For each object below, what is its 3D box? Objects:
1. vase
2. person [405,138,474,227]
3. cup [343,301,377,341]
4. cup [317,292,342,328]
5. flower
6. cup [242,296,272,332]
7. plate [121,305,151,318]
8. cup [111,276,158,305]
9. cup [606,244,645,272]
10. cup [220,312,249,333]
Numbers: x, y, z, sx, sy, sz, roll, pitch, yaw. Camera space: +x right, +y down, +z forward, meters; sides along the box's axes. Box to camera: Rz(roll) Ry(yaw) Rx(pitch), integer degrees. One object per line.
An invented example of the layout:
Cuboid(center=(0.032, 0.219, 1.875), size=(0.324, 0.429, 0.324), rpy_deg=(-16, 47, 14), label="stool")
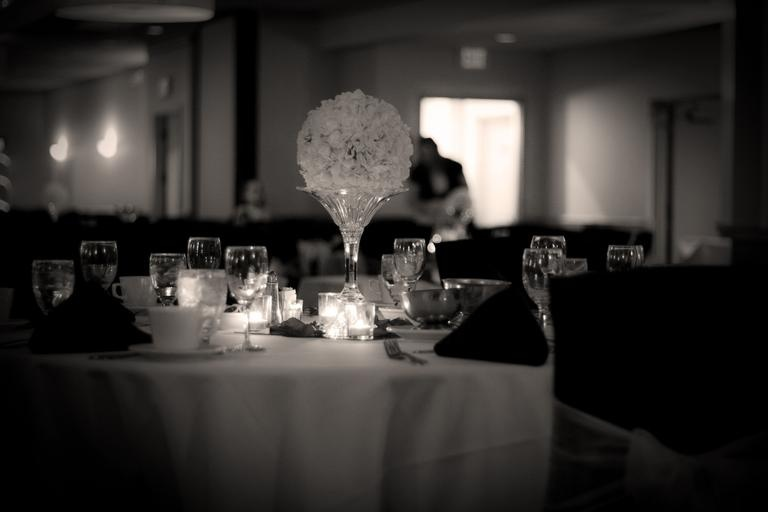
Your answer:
Cuboid(center=(-0.107, -0.047, 2.250), size=(0.380, 0.402, 0.383), rpy_deg=(-4, 9, -40), label="vase")
Cuboid(center=(0.735, -1.007, 8.613), size=(0.647, 1.222, 1.330), rpy_deg=(-2, 3, -19), label="person")
Cuboid(center=(-0.069, 0.190, 1.918), size=(0.093, 0.139, 0.098), rpy_deg=(-1, -2, 0), label="cup")
Cuboid(center=(-0.173, 0.175, 2.076), size=(0.087, 0.105, 0.091), rpy_deg=(2, 0, 0), label="cup")
Cuboid(center=(-0.087, -0.393, 2.237), size=(0.384, 0.219, 0.434), rpy_deg=(1, -30, 0), label="flower")
Cuboid(center=(-0.390, 0.181, 2.061), size=(0.090, 0.147, 0.101), rpy_deg=(1, -1, 1), label="cup")
Cuboid(center=(-0.776, 0.173, 2.038), size=(0.077, 0.033, 0.079), rpy_deg=(3, -2, -11), label="plate")
Cuboid(center=(-0.828, 0.115, 2.157), size=(0.117, 0.093, 0.098), rpy_deg=(-3, -1, -8), label="cup")
Cuboid(center=(0.800, 0.003, 2.165), size=(0.132, 0.077, 0.086), rpy_deg=(-2, 3, -34), label="cup")
Cuboid(center=(-0.468, 0.207, 2.046), size=(0.075, 0.058, 0.077), rpy_deg=(1, 1, 0), label="cup")
